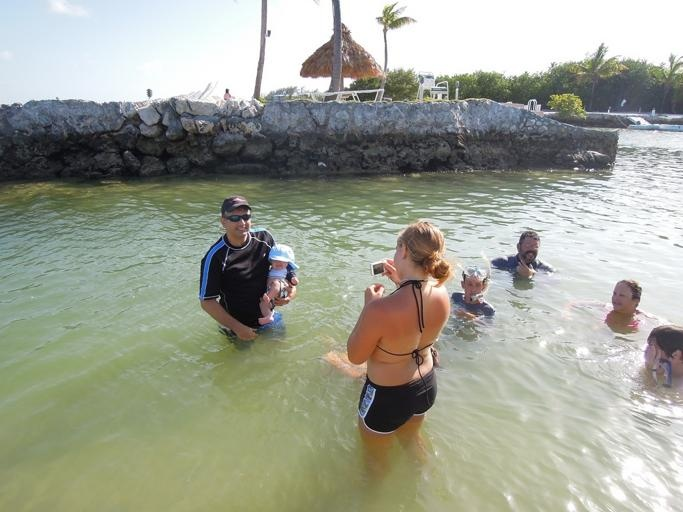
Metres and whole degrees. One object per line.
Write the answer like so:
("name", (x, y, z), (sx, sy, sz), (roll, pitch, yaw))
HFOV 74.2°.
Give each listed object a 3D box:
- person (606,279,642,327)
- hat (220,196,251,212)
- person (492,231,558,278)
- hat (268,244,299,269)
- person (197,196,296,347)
("person", (4.792, 0.815, 7.618), (0.487, 0.746, 0.519), (8, 20, 26))
("hat", (-1.488, -0.735, 6.434), (0.331, 0.209, 0.328), (4, 18, 14))
("person", (3.844, 0.010, 9.440), (1.459, 0.862, 0.679), (12, 6, 8))
("hat", (-0.941, 0.017, 7.023), (0.344, 0.205, 0.403), (11, -1, -16))
("person", (-1.498, 0.231, 6.638), (1.180, 2.177, 0.557), (-16, 23, -38))
